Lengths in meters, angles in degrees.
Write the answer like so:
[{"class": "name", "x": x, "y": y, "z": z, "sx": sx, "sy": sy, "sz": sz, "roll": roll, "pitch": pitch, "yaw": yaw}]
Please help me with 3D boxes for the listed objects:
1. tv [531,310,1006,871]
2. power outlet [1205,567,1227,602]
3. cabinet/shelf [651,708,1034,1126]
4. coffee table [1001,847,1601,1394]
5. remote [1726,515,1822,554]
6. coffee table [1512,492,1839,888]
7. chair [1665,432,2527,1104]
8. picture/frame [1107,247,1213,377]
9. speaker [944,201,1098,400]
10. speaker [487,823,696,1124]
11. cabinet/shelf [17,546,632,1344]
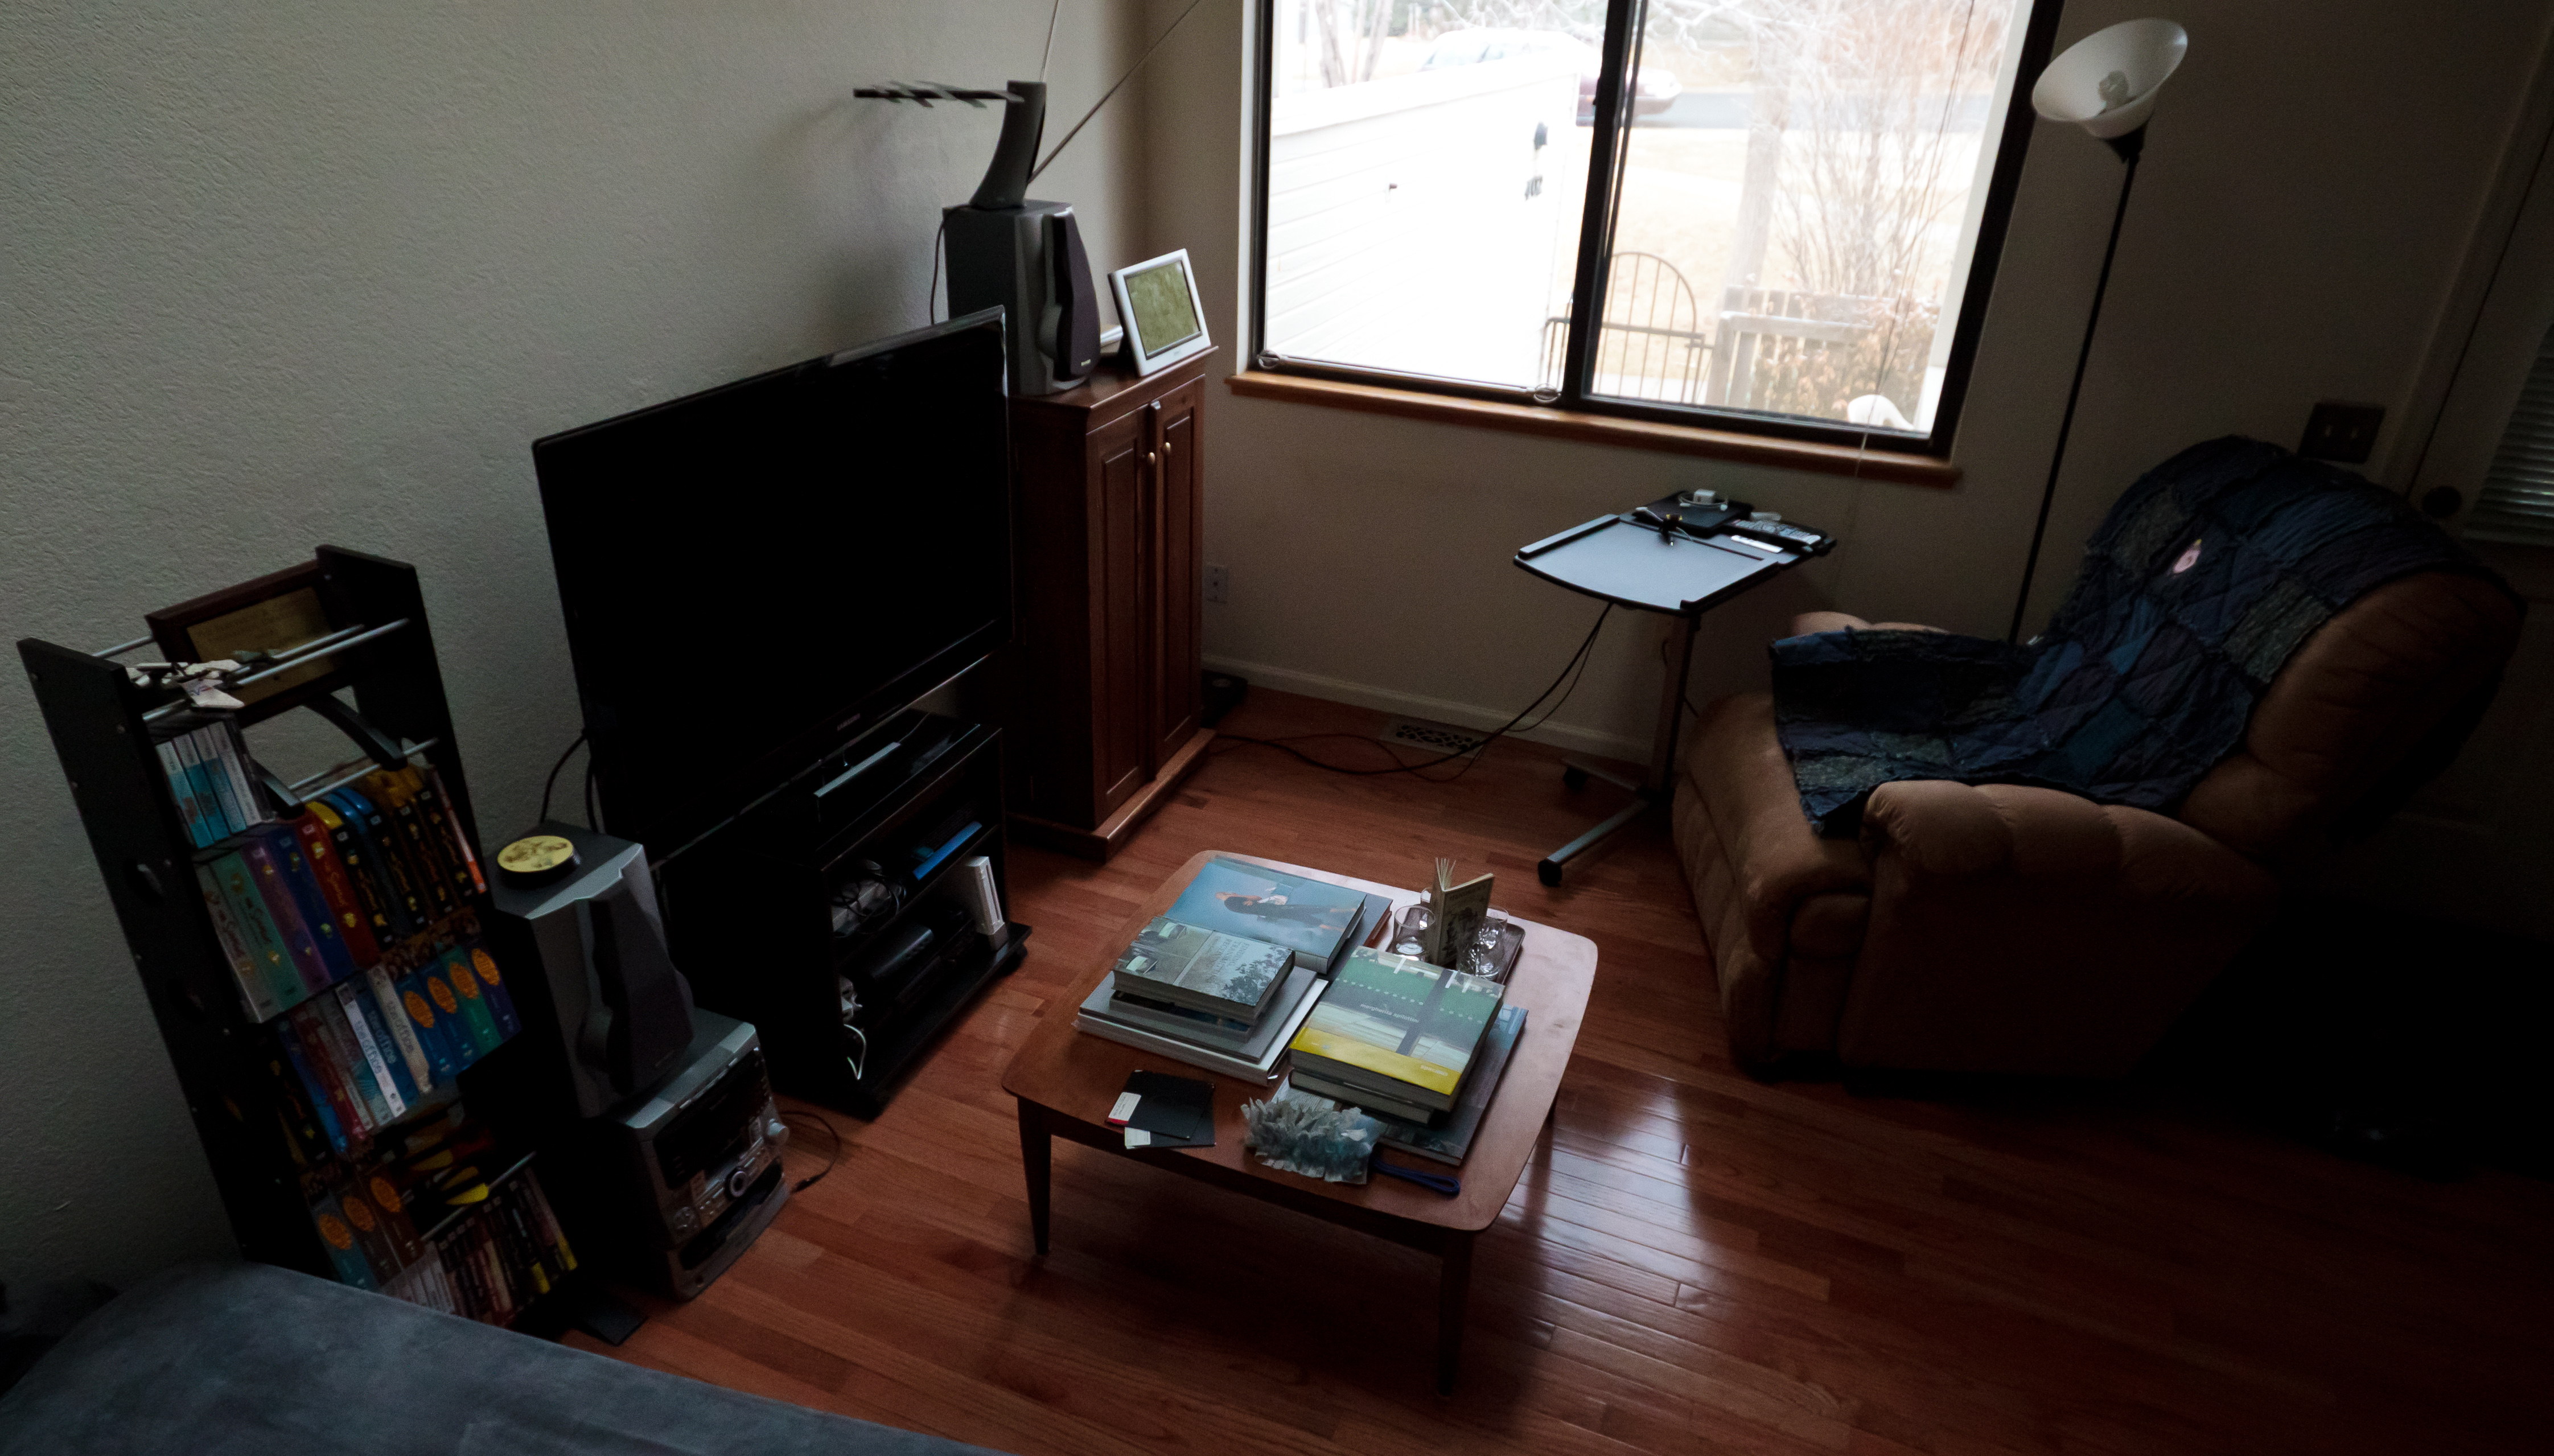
[{"class": "tv", "x": -1.188, "y": -0.430, "z": 4.335, "sx": 0.455, "sy": 1.108, "sz": 1.690, "roll": 13, "pitch": 29, "yaw": 18}, {"class": "power outlet", "x": -0.208, "y": -0.524, "z": 5.973, "sx": 0.110, "sy": 0.094, "sz": 0.025, "roll": 7, "pitch": 13, "yaw": 16}, {"class": "cabinet/shelf", "x": -1.205, "y": 0.424, "z": 4.597, "sx": 0.784, "sy": 0.788, "sz": 0.927, "roll": 6, "pitch": 20, "yaw": 9}, {"class": "coffee table", "x": 0.068, "y": 0.945, "z": 4.189, "sx": 1.245, "sy": 0.842, "sz": 0.910, "roll": 12, "pitch": 26, "yaw": 16}, {"class": "remote", "x": 1.574, "y": -0.608, "z": 5.109, "sx": 0.185, "sy": 0.039, "sz": 0.182, "roll": 19, "pitch": 36, "yaw": 29}, {"class": "coffee table", "x": 1.268, "y": -0.132, "z": 5.132, "sx": 0.757, "sy": 0.900, "sz": 0.956, "roll": 26, "pitch": 52, "yaw": 36}, {"class": "chair", "x": 2.221, "y": 0.172, "z": 4.693, "sx": 2.261, "sy": 1.748, "sz": 1.519, "roll": 4, "pitch": 40, "yaw": 11}, {"class": "picture/frame", "x": -0.344, "y": -1.271, "z": 5.019, "sx": 0.046, "sy": 0.314, "sz": 0.454, "roll": -1, "pitch": 25, "yaw": 26}, {"class": "speaker", "x": -0.738, "y": -1.262, "z": 4.824, "sx": 0.429, "sy": 0.483, "sz": 0.326, "roll": 7, "pitch": 26, "yaw": 10}, {"class": "speaker", "x": -1.646, "y": 0.596, "z": 3.961, "sx": 0.530, "sy": 0.565, "sz": 0.354, "roll": 4, "pitch": 25, "yaw": 23}, {"class": "cabinet/shelf", "x": -2.053, "y": 0.544, "z": 3.634, "sx": 0.727, "sy": 1.800, "sz": 0.691, "roll": -15, "pitch": 33, "yaw": -34}]
